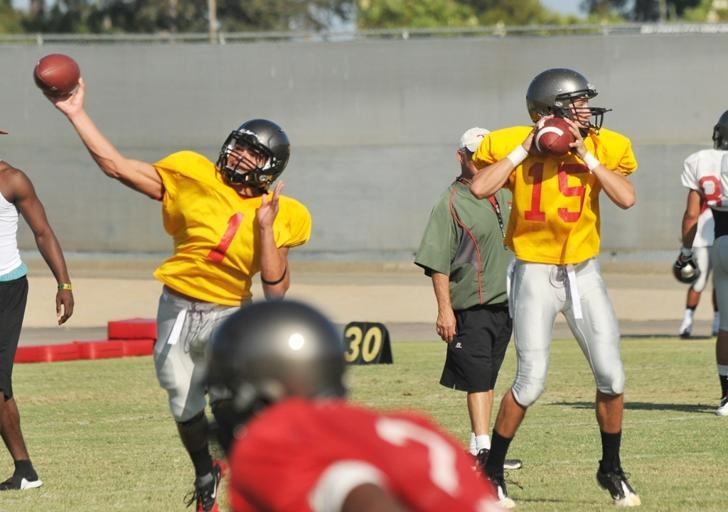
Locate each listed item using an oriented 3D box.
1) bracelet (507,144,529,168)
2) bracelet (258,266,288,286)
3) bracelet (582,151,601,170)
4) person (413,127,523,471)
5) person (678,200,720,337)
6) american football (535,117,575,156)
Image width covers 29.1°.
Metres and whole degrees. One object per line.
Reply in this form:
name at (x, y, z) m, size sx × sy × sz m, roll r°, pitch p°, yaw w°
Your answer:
bracelet at (1.329, -0.888, 12.222) m, size 0.125 × 0.212 × 0.085 m, roll 45°, pitch -1°, yaw 7°
bracelet at (-0.759, 0.164, 12.004) m, size 0.236 × 0.141 × 0.124 m, roll -3°, pitch 12°, yaw -11°
bracelet at (1.956, -0.839, 12.206) m, size 0.118 × 0.176 × 0.075 m, roll -47°, pitch 22°, yaw -13°
person at (0.661, 0.355, 13.198) m, size 1.224 × 2.910 × 1.360 m, roll 9°, pitch 17°, yaw 11°
person at (3.982, 0.181, 16.705) m, size 0.569 × 1.786 × 0.489 m, roll 11°, pitch 16°, yaw 29°
american football at (1.654, -1.017, 12.147) m, size 0.329 × 0.325 × 0.303 m, roll -16°, pitch -11°, yaw 12°
